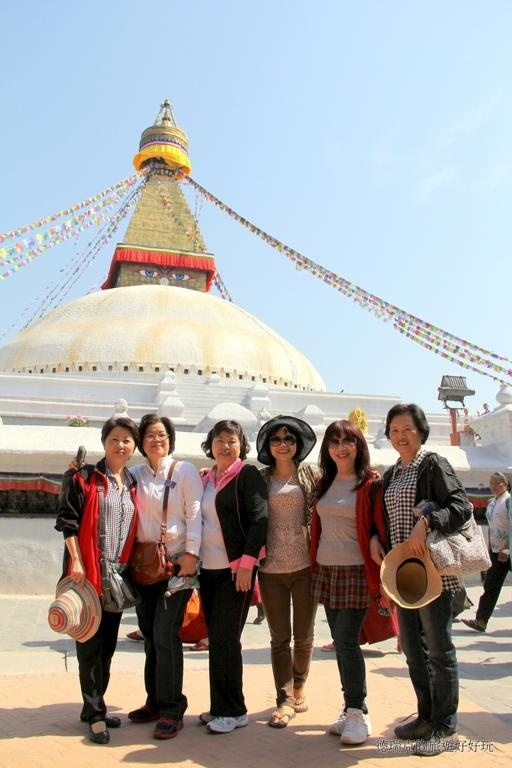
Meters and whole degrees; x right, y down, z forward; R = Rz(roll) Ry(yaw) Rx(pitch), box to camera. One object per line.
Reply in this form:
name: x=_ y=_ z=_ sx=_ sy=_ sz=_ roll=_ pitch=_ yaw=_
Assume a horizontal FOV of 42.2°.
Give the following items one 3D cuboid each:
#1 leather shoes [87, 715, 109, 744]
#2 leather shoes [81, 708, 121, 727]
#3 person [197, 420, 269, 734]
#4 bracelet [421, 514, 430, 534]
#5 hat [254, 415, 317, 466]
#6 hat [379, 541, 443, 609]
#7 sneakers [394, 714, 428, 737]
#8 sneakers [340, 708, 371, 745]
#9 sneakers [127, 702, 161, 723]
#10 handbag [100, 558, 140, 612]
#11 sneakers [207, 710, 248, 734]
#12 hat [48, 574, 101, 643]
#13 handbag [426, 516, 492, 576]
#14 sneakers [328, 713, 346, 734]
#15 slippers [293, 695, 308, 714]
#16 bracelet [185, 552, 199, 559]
leather shoes: x=-0.723 y=1.581 z=3.029 sx=0.091 sy=0.069 sz=0.186 roll=1 pitch=-8 yaw=-13
leather shoes: x=-0.783 y=1.612 z=3.224 sx=0.242 sy=0.089 sz=0.086 roll=-13 pitch=-22 yaw=34
person: x=-0.118 y=0.939 z=3.475 sx=0.357 sy=1.529 sz=0.464 roll=-1 pitch=-9 yaw=-6
bracelet: x=0.774 y=0.627 z=3.009 sx=0.034 sy=0.059 sz=0.046 roll=-4 pitch=5 yaw=-6
hat: x=0.165 y=0.295 z=3.855 sx=0.284 sy=0.324 sz=0.125 roll=0 pitch=3 yaw=-6
hat: x=0.736 y=0.904 z=3.096 sx=0.273 sy=0.331 sz=0.325 roll=-4 pitch=-9 yaw=18
sneakers: x=0.715 y=1.606 z=3.111 sx=0.079 sy=0.082 sz=0.205 roll=13 pitch=-18 yaw=-38
sneakers: x=0.463 y=1.579 z=3.066 sx=0.129 sy=0.130 sz=0.204 roll=-3 pitch=-8 yaw=11
sneakers: x=-0.568 y=1.653 z=3.337 sx=0.172 sy=0.068 sz=0.065 roll=14 pitch=-5 yaw=-28
handbag: x=-0.692 y=0.996 z=3.315 sx=0.121 sy=0.234 sz=0.240 roll=-17 pitch=-17 yaw=-5
sneakers: x=-0.124 y=1.628 z=3.192 sx=0.215 sy=0.086 sz=0.071 roll=18 pitch=-14 yaw=-31
hat: x=-0.861 y=1.082 z=3.154 sx=0.236 sy=0.316 sz=0.232 roll=1 pitch=-9 yaw=-13
handbag: x=0.965 y=0.750 z=3.076 sx=0.385 sy=0.238 sz=0.154 roll=7 pitch=-12 yaw=-44
sneakers: x=0.407 y=1.627 z=3.162 sx=0.051 sy=0.064 sz=0.151 roll=1 pitch=-20 yaw=27
slippers: x=0.238 y=1.705 z=3.531 sx=0.058 sy=0.090 sz=0.143 roll=-9 pitch=-41 yaw=8
bracelet: x=-0.316 y=0.855 z=3.358 sx=0.043 sy=0.012 sz=0.040 roll=40 pitch=-21 yaw=-31
